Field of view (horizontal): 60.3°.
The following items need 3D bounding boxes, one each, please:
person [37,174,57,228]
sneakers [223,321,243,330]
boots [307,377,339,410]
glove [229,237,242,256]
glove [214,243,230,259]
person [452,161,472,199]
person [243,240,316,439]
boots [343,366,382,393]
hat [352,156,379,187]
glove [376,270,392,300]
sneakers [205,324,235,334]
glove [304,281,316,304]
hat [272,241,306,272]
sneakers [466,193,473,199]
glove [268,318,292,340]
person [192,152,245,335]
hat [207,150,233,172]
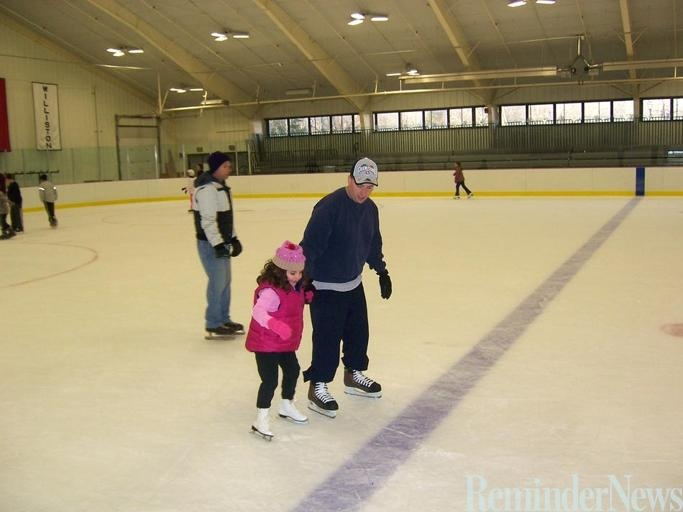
[{"bbox_3d":[-7.653,-1.438,15.406,0.393,1.336,1.330,-5,9,-26],"label":"person"},{"bbox_3d":[-0.980,0.631,5.356,0.187,0.077,0.069,8,11,0],"label":"sneakers"},{"bbox_3d":[-0.121,0.922,3.891,0.110,0.155,0.331,1,4,-30],"label":"boots"},{"bbox_3d":[-0.898,-0.069,5.164,0.122,0.167,0.044,-2,-14,21],"label":"glove"},{"bbox_3d":[-0.980,-0.044,4.953,0.123,0.109,0.113,-4,-1,36],"label":"glove"},{"bbox_3d":[4.150,-2.569,20.005,0.596,1.188,1.632,0,8,12],"label":"person"},{"bbox_3d":[-0.379,0.497,3.521,0.371,1.171,0.574,0,8,6],"label":"person"},{"bbox_3d":[0.144,0.878,4.178,0.322,0.204,0.121,1,3,25],"label":"boots"},{"bbox_3d":[0.105,-0.534,3.753,0.216,0.164,0.345,5,7,-4],"label":"hat"},{"bbox_3d":[0.344,0.202,4.190,0.071,0.211,0.124,-18,-6,-19],"label":"glove"},{"bbox_3d":[-1.086,0.660,5.308,0.267,0.111,0.096,-1,1,-4],"label":"sneakers"},{"bbox_3d":[-0.197,0.217,3.603,0.044,0.123,0.097,-1,32,11],"label":"glove"},{"bbox_3d":[-0.307,0.003,3.455,0.194,0.177,0.189,-2,8,-6],"label":"hat"},{"bbox_3d":[4.467,-2.074,20.233,0.119,0.231,0.348,2,10,-4],"label":"sneakers"},{"bbox_3d":[-0.331,0.400,3.224,0.129,0.088,0.037,41,-10,-1],"label":"glove"},{"bbox_3d":[-1.066,-0.076,5.150,0.389,1.624,0.516,-3,8,-14],"label":"person"},{"bbox_3d":[-1.033,-0.791,4.989,0.167,0.177,0.320,-3,8,-12],"label":"hat"}]
